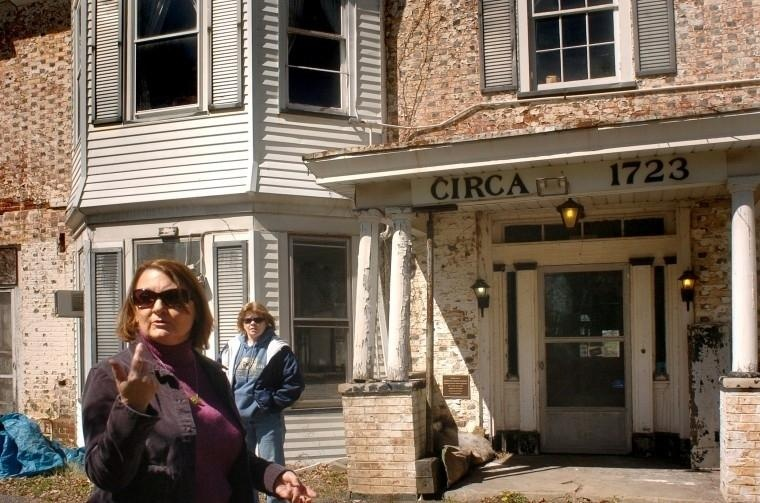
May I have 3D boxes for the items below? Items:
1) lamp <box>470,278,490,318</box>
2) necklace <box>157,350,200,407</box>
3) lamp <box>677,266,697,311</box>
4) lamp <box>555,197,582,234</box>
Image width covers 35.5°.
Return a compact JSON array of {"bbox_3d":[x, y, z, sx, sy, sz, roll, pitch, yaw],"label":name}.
[{"bbox_3d":[1.707,0.743,19.907,0.325,0.633,0.231,-1,-8,-3],"label":"lamp"},{"bbox_3d":[-2.339,1.527,13.597,0.246,0.638,0.462,-42,-11,21],"label":"necklace"},{"bbox_3d":[5.009,0.574,19.196,0.346,0.696,0.357,3,-8,-17],"label":"lamp"},{"bbox_3d":[3.027,-0.612,18.781,0.490,0.564,0.438,0,-24,8],"label":"lamp"}]
